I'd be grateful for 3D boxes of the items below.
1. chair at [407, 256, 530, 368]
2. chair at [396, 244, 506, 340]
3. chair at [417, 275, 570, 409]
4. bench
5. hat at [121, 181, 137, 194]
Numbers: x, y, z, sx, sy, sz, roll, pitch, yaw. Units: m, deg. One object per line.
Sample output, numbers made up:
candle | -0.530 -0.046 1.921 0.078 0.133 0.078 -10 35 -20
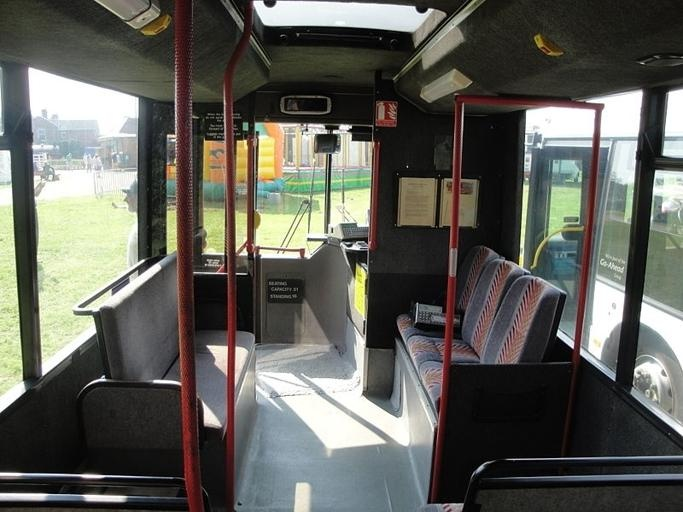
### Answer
chair | 0.947 0.465 4.649 0.908 0.818 1.308 0 9 2
chair | 0.928 0.346 5.165 0.799 0.979 0.613 8 1 17
chair | 1.060 0.460 3.968 0.834 0.908 1.016 3 6 -2
bench | -1.179 0.839 3.595 0.776 1.144 1.593 1 11 -4
hat | -2.026 -0.662 5.075 0.081 0.158 0.084 14 -1 12
